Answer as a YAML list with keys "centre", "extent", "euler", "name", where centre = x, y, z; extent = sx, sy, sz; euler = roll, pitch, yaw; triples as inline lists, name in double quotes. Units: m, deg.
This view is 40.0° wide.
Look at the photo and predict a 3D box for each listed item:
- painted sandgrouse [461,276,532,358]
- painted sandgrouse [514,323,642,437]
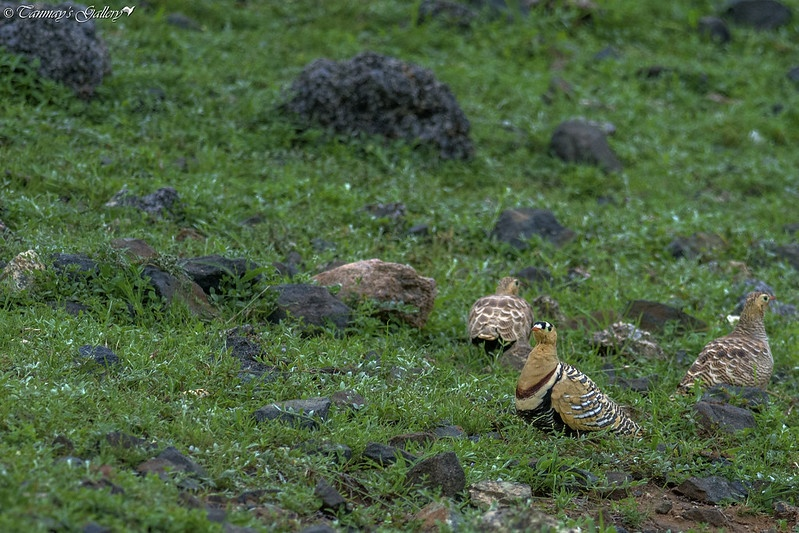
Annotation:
- centre: [1.150, 0.666, 12.605]
  extent: [0.734, 1.047, 1.324]
  euler: [0, 2, 16]
  name: "painted sandgrouse"
- centre: [1.642, 1.200, 10.915]
  extent: [1.274, 1.121, 0.775]
  euler: [14, -13, -9]
  name: "painted sandgrouse"
